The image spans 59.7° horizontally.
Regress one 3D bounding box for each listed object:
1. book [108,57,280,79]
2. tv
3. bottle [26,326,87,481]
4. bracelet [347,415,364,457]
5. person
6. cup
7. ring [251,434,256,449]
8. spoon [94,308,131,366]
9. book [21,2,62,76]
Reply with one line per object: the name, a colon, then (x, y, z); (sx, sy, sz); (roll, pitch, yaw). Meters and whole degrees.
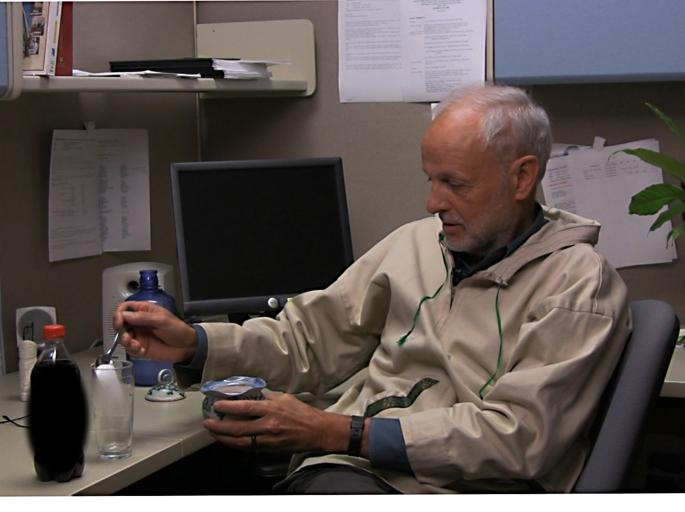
book: (-0.437, -0.559, 1.777); (0.478, 0.061, 0.065); (-4, 9, -16)
tv: (-0.244, -0.056, 1.807); (0.437, 0.431, 0.133); (-3, -2, -12)
bottle: (-0.565, 0.281, 1.180); (0.107, 0.255, 0.202); (-5, 10, -25)
bracelet: (0.029, 0.359, 1.192); (0.037, 0.069, 0.066); (5, 12, 8)
person: (0.044, 0.095, 1.708); (1.123, 1.342, 0.823); (3, 3, -15)
cup: (-0.478, 0.306, 1.247); (0.083, 0.176, 0.160); (-5, 10, -25)
ring: (-0.178, 0.371, 1.198); (0.012, 0.030, 0.005); (-1, 9, -2)
spoon: (-0.573, 0.204, 1.491); (0.026, 0.190, 0.044); (34, -29, -26)
book: (-0.767, -0.561, 1.525); (0.096, 0.194, 0.055); (-5, 10, -26)
